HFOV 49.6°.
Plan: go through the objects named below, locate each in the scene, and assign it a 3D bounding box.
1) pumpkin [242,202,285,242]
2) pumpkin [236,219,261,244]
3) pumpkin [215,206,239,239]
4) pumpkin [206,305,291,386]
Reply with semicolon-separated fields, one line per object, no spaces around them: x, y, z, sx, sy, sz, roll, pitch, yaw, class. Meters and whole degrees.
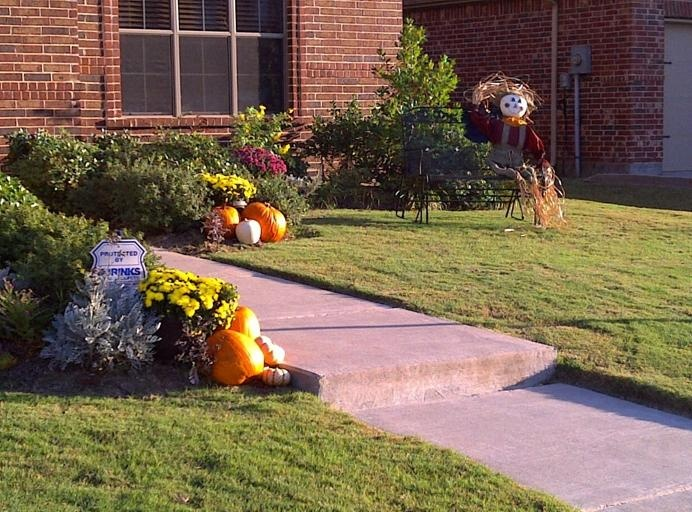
-0.966;-0.448;9.040;0.443;0.446;0.463;18;10;-8;pumpkin
-1.107;-0.292;8.818;0.256;0.312;0.253;-11;5;38;pumpkin
-1.397;-0.410;8.882;0.312;0.344;0.330;3;12;13;pumpkin
-0.686;0.637;5.318;0.579;0.367;0.613;1;15;-7;pumpkin
